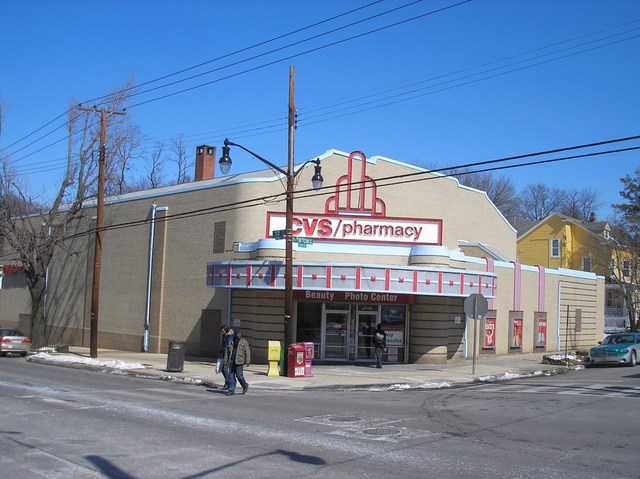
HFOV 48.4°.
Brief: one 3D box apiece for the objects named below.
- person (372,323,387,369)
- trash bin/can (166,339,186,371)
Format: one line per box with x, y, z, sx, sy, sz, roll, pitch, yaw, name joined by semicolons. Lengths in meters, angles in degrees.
2.704;4.894;32.791;0.562;2.126;1.556;1;-12;4;person
-5.818;4.697;28.746;0.954;1.603;1.071;3;-9;-6;trash bin/can
